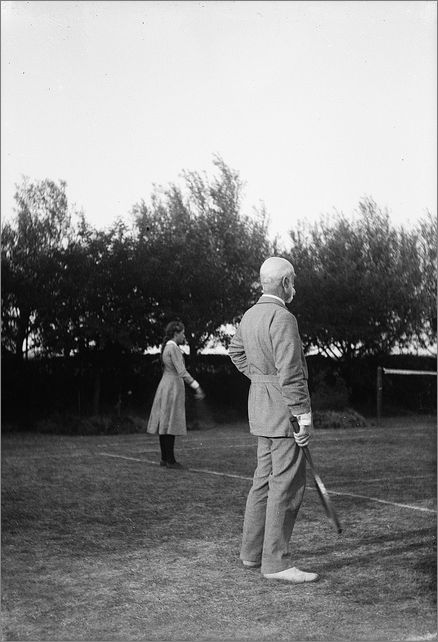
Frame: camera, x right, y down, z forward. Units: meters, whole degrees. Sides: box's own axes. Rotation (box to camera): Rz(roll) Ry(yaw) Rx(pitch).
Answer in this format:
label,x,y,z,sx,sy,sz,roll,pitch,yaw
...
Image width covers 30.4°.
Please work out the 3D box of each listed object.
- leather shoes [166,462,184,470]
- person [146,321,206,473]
label,x,y,z,sx,sy,sz,roll,pitch,yaw
leather shoes,-0.303,1.026,5.627,0.128,0.080,0.055,3,-10,-8
person,-0.288,0.521,5.515,0.336,1.051,0.533,4,5,30
